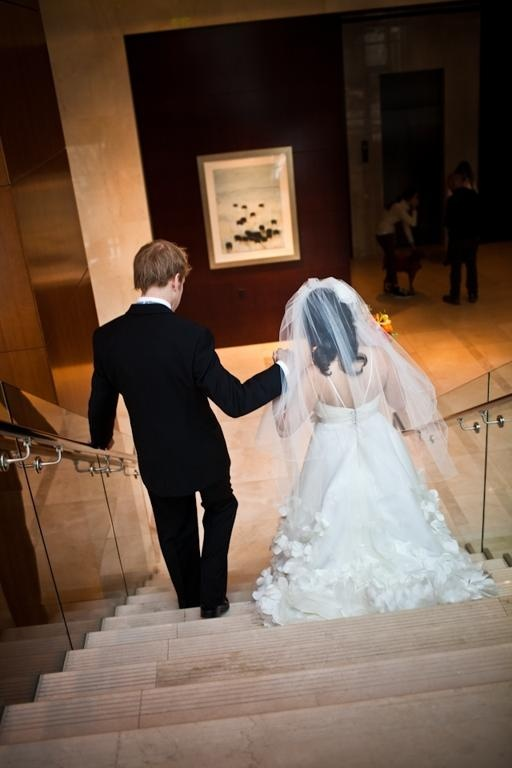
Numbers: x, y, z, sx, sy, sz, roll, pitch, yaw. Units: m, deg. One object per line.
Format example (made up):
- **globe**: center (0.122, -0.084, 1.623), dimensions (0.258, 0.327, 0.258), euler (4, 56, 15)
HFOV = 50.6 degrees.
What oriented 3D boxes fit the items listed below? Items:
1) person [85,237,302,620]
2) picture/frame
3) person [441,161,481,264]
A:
- **person**: center (-0.307, 0.301, 2.178), dimensions (0.792, 1.670, 0.439), euler (-2, 21, 19)
- **picture/frame**: center (-0.106, -2.220, 6.650), dimensions (1.139, 1.523, 0.060), euler (-5, 25, 6)
- **person**: center (2.591, -1.852, 6.710), dimensions (0.419, 1.649, 0.217), euler (-4, 20, 14)
